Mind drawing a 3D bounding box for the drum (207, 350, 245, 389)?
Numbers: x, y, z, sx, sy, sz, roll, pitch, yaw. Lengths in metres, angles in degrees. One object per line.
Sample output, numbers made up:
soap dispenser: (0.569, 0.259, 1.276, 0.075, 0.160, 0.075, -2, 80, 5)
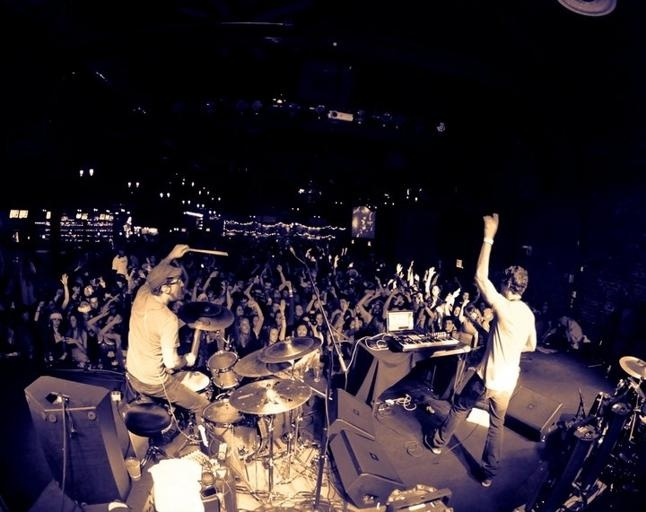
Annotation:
drum: (-1.495, 1.702, 7.841, 0.518, 0.426, 0.534, 7, 20, -2)

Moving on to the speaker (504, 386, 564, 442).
speaker: (3.371, 2.384, 7.924, 0.704, 0.484, 0.737, 19, 50, 39)

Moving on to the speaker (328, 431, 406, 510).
speaker: (0.499, 3.082, 7.006, 0.858, 0.694, 0.989, 13, 22, -22)

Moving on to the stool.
stool: (-2.493, 2.514, 7.105, 0.654, 0.828, 0.849, 7, 3, -17)

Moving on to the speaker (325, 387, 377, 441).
speaker: (0.420, 2.427, 7.495, 0.615, 0.209, 0.677, 32, 16, -12)

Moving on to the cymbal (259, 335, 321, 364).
cymbal: (-0.462, 1.307, 7.040, 0.478, 0.117, 0.498, -12, 12, -12)

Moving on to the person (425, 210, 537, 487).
person: (2.415, 1.374, 7.259, 1.146, 3.680, 0.706, 9, 4, 25)

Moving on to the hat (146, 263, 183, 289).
hat: (-2.287, 0.294, 7.113, 0.464, 0.388, 0.268, 8, 3, -7)

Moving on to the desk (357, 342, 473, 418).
desk: (1.618, 2.131, 9.020, 1.914, 1.284, 1.523, -2, 3, 6)

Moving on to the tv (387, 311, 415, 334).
tv: (1.348, 1.127, 8.738, 0.564, 0.465, 0.322, 2, 2, -1)

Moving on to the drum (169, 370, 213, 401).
drum: (-2.033, 1.918, 7.733, 0.461, 0.171, 0.470, 6, 13, -1)

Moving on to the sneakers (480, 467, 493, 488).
sneakers: (2.367, 3.200, 7.293, 0.157, 0.301, 0.196, 1, 37, 10)
